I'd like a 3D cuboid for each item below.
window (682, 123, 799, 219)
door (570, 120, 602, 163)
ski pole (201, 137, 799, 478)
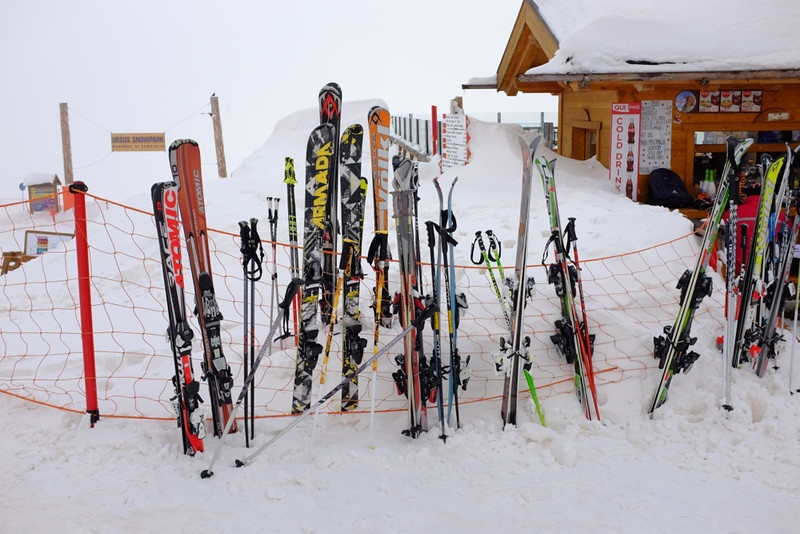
[{"bbox_3d":[4.588,-1.314,9.878,0.964,1.672,1.809,3,6,8],"label":"window"},{"bbox_3d":[3.688,-2.498,14.677,0.729,0.925,0.116,6,-12,-20],"label":"door"},{"bbox_3d":[1.366,0.057,7.498,5.722,2.924,1.489,-3,12,-5],"label":"ski pole"}]
